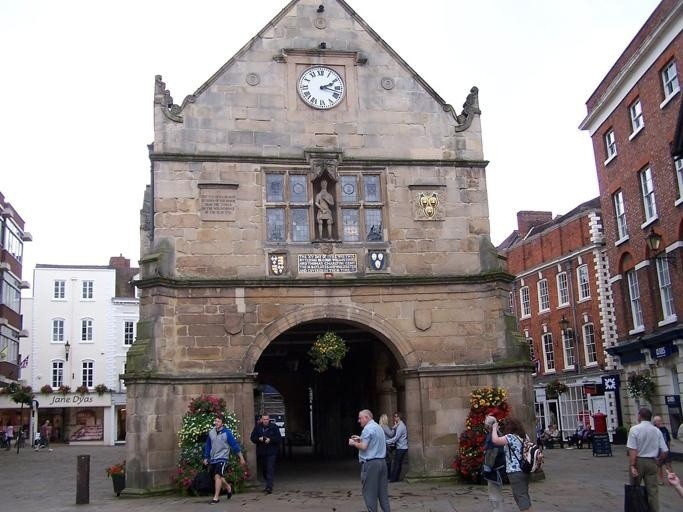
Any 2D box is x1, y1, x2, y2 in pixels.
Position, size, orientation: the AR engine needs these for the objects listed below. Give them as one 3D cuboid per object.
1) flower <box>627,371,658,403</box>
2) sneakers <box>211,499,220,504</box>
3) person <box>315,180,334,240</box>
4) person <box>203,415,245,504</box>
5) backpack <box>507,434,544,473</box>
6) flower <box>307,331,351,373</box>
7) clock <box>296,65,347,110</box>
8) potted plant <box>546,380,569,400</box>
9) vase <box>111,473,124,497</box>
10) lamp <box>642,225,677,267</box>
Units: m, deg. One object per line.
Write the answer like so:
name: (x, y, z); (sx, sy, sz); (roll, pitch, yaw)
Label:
flower: (12.731, 5.547, 28.468); (1.122, 1.490, 1.271); (-1, -13, 2)
sneakers: (-2.857, 5.536, 15.191); (0.180, 0.098, 0.377); (1, -15, -11)
person: (-0.469, -1.317, 18.930); (0.531, 1.760, 0.292); (0, -16, -9)
person: (-2.803, 4.768, 15.847); (0.922, 1.913, 1.318); (0, -15, -7)
backpack: (3.174, 3.399, 11.400); (0.638, 0.621, 0.438); (-12, -21, 31)
flower: (-0.420, 2.558, 18.431); (0.886, 1.161, 1.127); (2, -16, -14)
clock: (-0.650, -4.847, 19.502); (1.413, 1.371, 0.118); (3, -18, -12)
potted plant: (12.587, 7.715, 39.244); (1.304, 1.284, 1.290); (4, -14, -9)
vase: (-5.625, 5.749, 16.895); (0.243, 0.559, 0.564); (12, -20, -41)
lamp: (12.743, -0.406, 26.777); (1.075, 2.005, 1.430); (-5, -29, 18)
